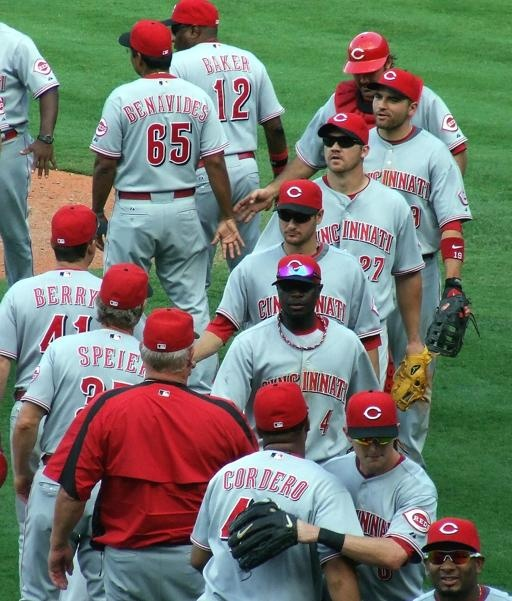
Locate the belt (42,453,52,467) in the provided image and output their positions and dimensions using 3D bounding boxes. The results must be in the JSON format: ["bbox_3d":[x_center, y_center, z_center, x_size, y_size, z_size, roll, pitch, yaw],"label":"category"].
[{"bbox_3d":[-0.990,0.764,5.637,0.045,0.050,0.048,-2,5,-17],"label":"belt"}]

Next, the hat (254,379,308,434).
[{"bbox_3d":[0.108,0.437,4.878,0.177,0.117,0.227,-3,18,5],"label":"hat"}]

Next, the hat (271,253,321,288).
[{"bbox_3d":[0.208,-0.141,5.471,0.197,0.122,0.262,4,20,-1],"label":"hat"}]

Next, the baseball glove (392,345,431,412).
[{"bbox_3d":[0.896,0.446,6.792,0.197,0.142,0.321,1,28,11],"label":"baseball glove"}]

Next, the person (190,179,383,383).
[{"bbox_3d":[0.167,0.074,6.374,1.169,0.401,1.596,-2,-20,1],"label":"person"}]

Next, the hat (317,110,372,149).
[{"bbox_3d":[0.519,-0.964,6.510,0.180,0.119,0.254,16,-7,32],"label":"hat"}]

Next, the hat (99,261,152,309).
[{"bbox_3d":[-0.618,-0.097,5.756,0.247,0.162,0.322,14,29,11],"label":"hat"}]

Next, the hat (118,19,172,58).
[{"bbox_3d":[-0.729,-1.713,7.670,0.369,0.173,0.233,6,24,-5],"label":"hat"}]

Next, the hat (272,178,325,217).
[{"bbox_3d":[0.229,-0.520,5.968,0.168,0.123,0.236,3,4,15],"label":"hat"}]

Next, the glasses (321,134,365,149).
[{"bbox_3d":[0.490,-0.871,6.460,0.218,0.081,0.092,5,21,1],"label":"glasses"}]

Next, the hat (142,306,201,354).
[{"bbox_3d":[-0.366,0.081,5.203,0.250,0.130,0.319,5,34,9],"label":"hat"}]

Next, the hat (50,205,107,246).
[{"bbox_3d":[-0.941,-0.414,6.297,0.272,0.169,0.371,9,16,9],"label":"hat"}]

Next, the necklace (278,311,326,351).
[{"bbox_3d":[0.262,0.143,5.549,0.166,0.180,0.048,-1,0,2],"label":"necklace"}]

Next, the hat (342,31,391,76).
[{"bbox_3d":[0.714,-1.604,7.509,0.303,0.187,0.360,13,41,30],"label":"hat"}]

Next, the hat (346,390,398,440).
[{"bbox_3d":[0.513,0.481,5.132,0.248,0.162,0.320,-1,19,2],"label":"hat"}]

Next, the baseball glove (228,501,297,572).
[{"bbox_3d":[0.041,0.886,4.501,0.250,0.137,0.325,-9,5,27],"label":"baseball glove"}]

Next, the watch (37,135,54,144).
[{"bbox_3d":[-1.548,-1.202,8.798,0.092,0.042,0.088,3,-8,21],"label":"watch"}]

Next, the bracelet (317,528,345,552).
[{"bbox_3d":[0.292,0.907,4.507,0.106,0.075,0.044,24,-21,-13],"label":"bracelet"}]

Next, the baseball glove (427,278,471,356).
[{"bbox_3d":[1.156,0.093,6.898,0.251,0.435,0.200,13,-17,17],"label":"baseball glove"}]

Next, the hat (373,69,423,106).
[{"bbox_3d":[0.899,-1.285,7.102,0.283,0.134,0.185,19,12,-44],"label":"hat"}]

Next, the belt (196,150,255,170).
[{"bbox_3d":[-0.186,-1.061,8.648,0.285,0.153,0.201,-6,16,23],"label":"belt"}]
